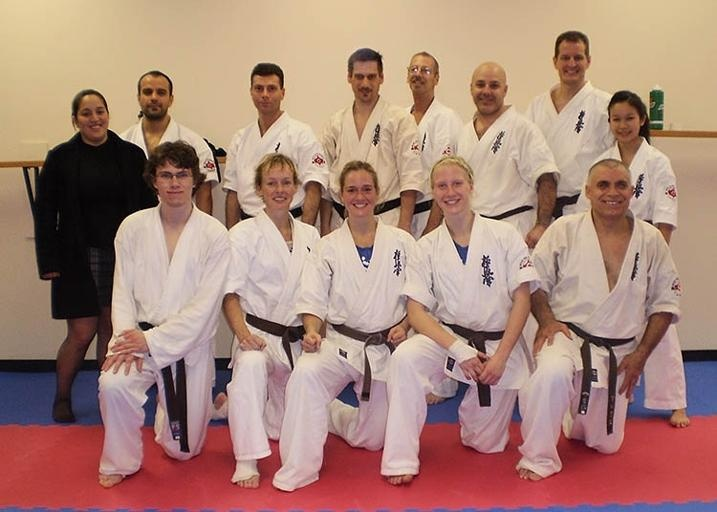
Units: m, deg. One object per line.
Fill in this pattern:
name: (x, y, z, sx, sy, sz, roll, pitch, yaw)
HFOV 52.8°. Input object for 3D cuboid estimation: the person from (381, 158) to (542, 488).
person: (0.646, 0.369, 4.891, 1.125, 2.012, 0.645, -5, 13, -21)

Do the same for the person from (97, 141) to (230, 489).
person: (-1.301, 0.328, 4.858, 0.939, 2.137, 0.714, -4, 13, -16)
